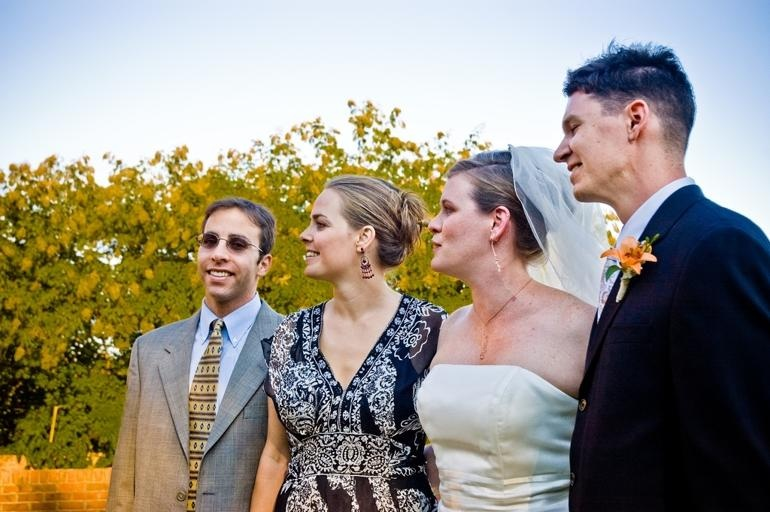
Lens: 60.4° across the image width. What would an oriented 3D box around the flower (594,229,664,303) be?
[{"bbox_3d":[1.175,0.060,3.184,0.283,0.127,0.282,-33,13,17],"label":"flower"}]
